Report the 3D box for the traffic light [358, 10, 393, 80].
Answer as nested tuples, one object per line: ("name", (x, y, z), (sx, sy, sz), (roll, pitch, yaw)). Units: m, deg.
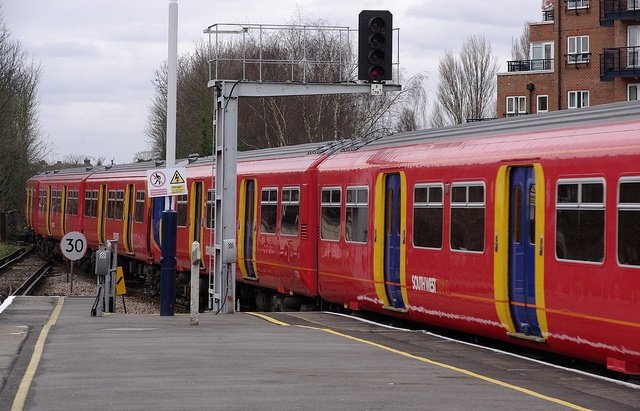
("traffic light", (1.277, -3.559, 15.214), (0.729, 1.543, 0.267), (1, 1, 0))
